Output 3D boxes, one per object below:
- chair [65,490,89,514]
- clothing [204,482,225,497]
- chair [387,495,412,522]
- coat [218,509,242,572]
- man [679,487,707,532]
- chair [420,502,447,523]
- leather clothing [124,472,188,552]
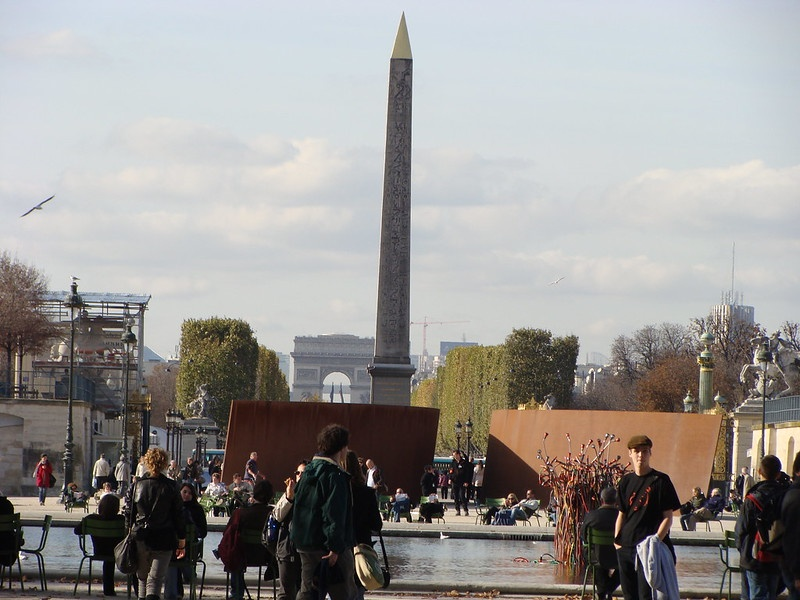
[{"bbox_3d":[-7.400,4.652,44.454,0.513,0.593,0.511,5,-13,-31],"label":"chair"},{"bbox_3d":[-4.260,4.324,44.106,0.505,0.400,0.277,2,-27,-2],"label":"clothing"},{"bbox_3d":[-0.177,4.729,43.784,0.684,0.786,0.475,2,-2,-3],"label":"chair"},{"bbox_3d":[-2.893,4.046,32.586,0.406,1.041,0.266,-1,-6,14],"label":"coat"},{"bbox_3d":[6.273,4.692,43.541,0.536,0.961,1.854,0,-6,9],"label":"man"},{"bbox_3d":[0.501,4.742,43.542,0.480,0.521,0.236,2,18,-10],"label":"chair"},{"bbox_3d":[-3.974,3.480,31.755,0.812,1.260,0.683,0,-6,-15],"label":"leather clothing"}]
